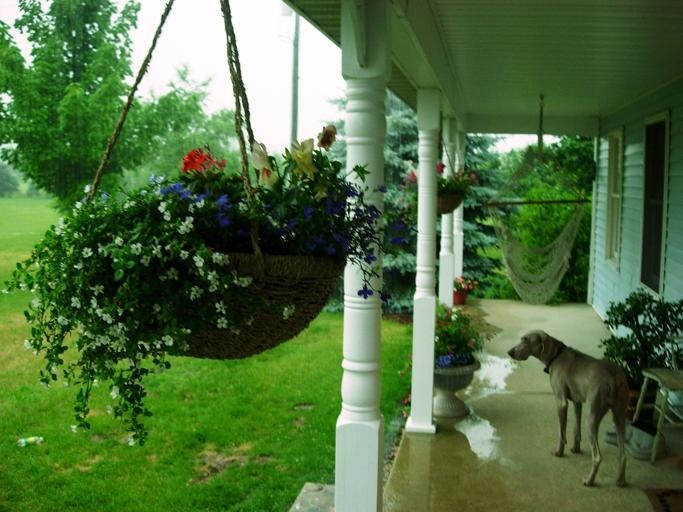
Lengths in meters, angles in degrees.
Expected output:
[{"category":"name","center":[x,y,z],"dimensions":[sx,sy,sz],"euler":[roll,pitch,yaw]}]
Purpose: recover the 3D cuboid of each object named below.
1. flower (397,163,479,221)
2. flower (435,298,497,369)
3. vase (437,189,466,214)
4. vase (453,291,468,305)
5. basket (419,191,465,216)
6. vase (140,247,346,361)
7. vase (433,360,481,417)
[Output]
[{"category":"flower","center":[1.107,-0.704,7.187],"dimensions":[0.551,0.406,0.455],"euler":[-5,20,-33]},{"category":"flower","center":[1.074,0.791,7.185],"dimensions":[0.713,0.524,0.711],"euler":[0,-2,-23]},{"category":"vase","center":[1.072,-0.536,7.130],"dimensions":[0.254,0.190,0.263],"euler":[1,1,8]},{"category":"vase","center":[1.772,0.603,10.846],"dimensions":[0.211,0.181,0.223],"euler":[0,-6,1]},{"category":"basket","center":[0.930,-0.509,6.807],"dimensions":[0.329,0.187,0.349],"euler":[-1,-11,1]},{"category":"vase","center":[-0.545,0.248,3.795],"dimensions":[0.948,0.420,0.990],"euler":[-16,-13,-6]},{"category":"vase","center":[1.024,1.235,6.933],"dimensions":[0.464,0.452,0.475],"euler":[1,3,-2]}]
